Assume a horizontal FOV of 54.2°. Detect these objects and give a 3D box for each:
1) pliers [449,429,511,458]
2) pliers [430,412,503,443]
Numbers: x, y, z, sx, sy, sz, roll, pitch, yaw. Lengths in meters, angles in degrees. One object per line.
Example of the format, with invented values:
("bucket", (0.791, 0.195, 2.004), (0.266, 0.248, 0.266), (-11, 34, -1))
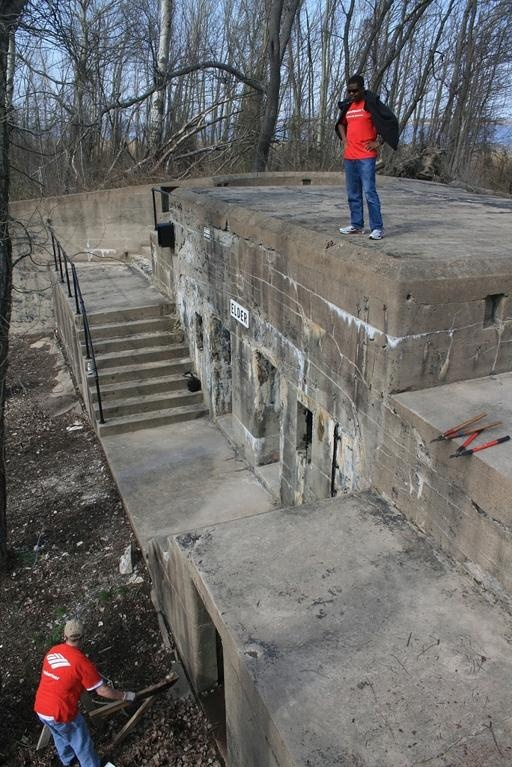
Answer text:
("pliers", (1.247, 0.345, 2.803), (0.283, 0.067, 0.034), (-19, 57, -11))
("pliers", (1.243, 0.272, 2.953), (0.549, 0.056, 0.168), (-14, 25, -33))
